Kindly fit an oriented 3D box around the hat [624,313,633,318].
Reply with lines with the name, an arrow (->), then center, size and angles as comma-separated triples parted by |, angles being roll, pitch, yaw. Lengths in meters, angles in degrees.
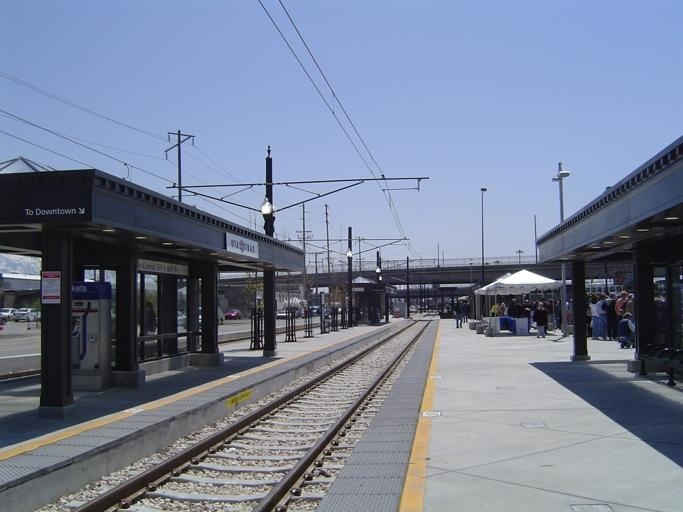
hat -> 9.036, 1.868, 21.302 | 0.165, 0.170, 0.396 | -9, -12, 38
